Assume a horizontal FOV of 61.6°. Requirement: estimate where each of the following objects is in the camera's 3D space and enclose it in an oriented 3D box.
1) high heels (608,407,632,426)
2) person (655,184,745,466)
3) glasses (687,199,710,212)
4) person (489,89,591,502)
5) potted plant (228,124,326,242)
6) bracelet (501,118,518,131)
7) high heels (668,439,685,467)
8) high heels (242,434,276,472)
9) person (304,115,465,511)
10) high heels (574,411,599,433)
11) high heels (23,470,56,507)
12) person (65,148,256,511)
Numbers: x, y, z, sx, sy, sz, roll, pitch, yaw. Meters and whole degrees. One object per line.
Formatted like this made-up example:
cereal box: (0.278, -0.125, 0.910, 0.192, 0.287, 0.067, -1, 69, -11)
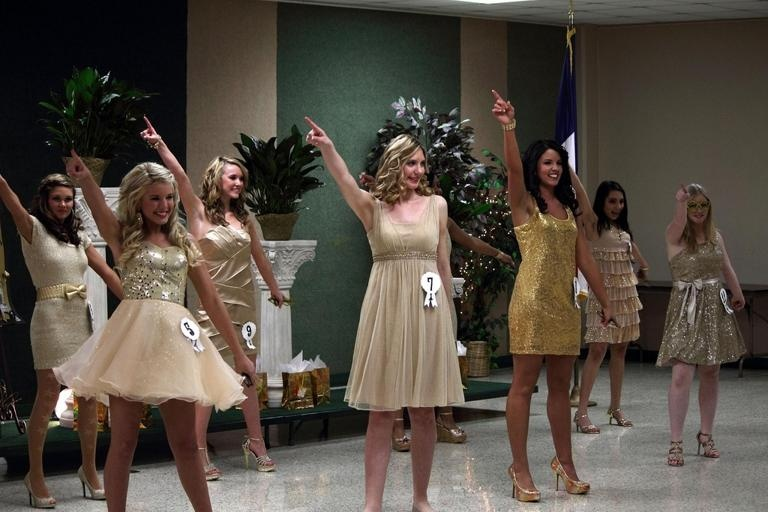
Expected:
high heels: (2.294, 1.548, 6.244, 0.217, 0.160, 0.314, -1, 0, 18)
person: (2.469, 0.512, 5.053, 0.781, 2.152, 0.399, -1, 1, -31)
glasses: (2.398, -0.387, 4.899, 0.114, 0.049, 0.126, -1, -1, 1)
person: (0.983, 0.342, 4.107, 0.731, 2.487, 0.331, -1, 1, -38)
potted plant: (-0.815, -0.603, 5.990, 0.974, 1.123, 0.941, -2, -5, 27)
bracelet: (0.760, -0.790, 3.884, 0.049, 0.089, 0.161, 0, 0, 19)
high heels: (2.217, 1.504, 4.888, 0.110, 0.170, 0.174, 0, 0, 25)
high heels: (-0.952, 1.523, 4.929, 0.308, 0.230, 0.109, 6, 3, 27)
person: (0.077, 0.391, 3.748, 0.757, 2.229, 0.414, -1, 1, 0)
high heels: (1.857, 1.572, 6.015, 0.109, 0.182, 0.303, 0, -5, -30)
high heels: (-2.229, 1.520, 4.174, 0.267, 0.213, 0.117, -1, 1, 22)
person: (-1.083, 0.355, 3.085, 0.837, 1.691, 0.473, 0, 1, 9)
